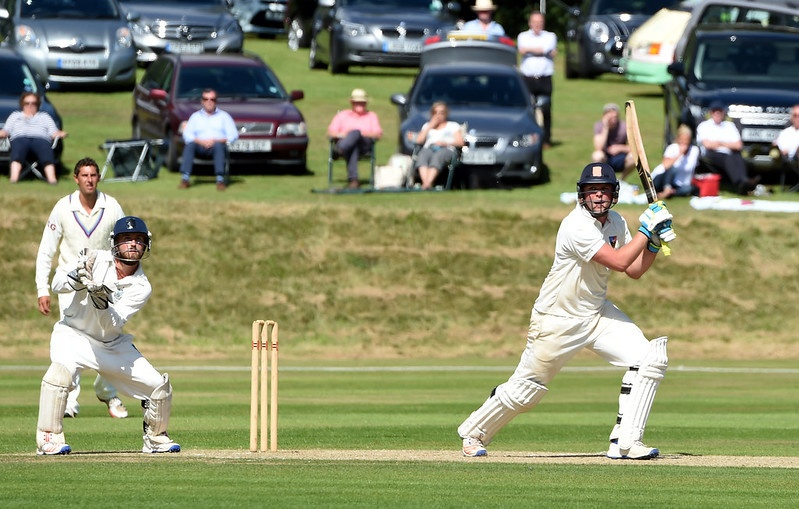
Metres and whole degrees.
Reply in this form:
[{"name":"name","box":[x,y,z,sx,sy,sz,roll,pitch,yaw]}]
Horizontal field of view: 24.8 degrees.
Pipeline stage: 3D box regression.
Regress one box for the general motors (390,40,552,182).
[{"name":"general motors","box":[1.397,-2.834,35.362,3.257,2.568,3.724,2,13,-7]}]

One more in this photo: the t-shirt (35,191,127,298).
[{"name":"t-shirt","box":[-4.728,-0.112,26.890,1.872,1.936,0.840,0,11,-14]}]

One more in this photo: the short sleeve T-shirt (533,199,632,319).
[{"name":"short sleeve T-shirt","box":[2.598,0.089,25.951,1.216,1.512,0.530,3,12,-1]}]

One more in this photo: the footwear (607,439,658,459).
[{"name":"footwear","box":[3.346,2.738,26.033,0.742,0.351,0.268,-1,-1,10]}]

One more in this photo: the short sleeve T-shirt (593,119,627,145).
[{"name":"short sleeve T-shirt","box":[4.086,-2.353,34.918,0.629,0.472,0.554,5,12,6]}]

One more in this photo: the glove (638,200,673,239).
[{"name":"glove","box":[3.679,-0.475,25.785,0.495,0.551,0.314,4,12,4]}]

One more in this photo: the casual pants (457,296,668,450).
[{"name":"casual pants","box":[2.246,1.568,26.577,3.073,2.043,1.872,0,7,-8]}]

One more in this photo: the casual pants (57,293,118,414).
[{"name":"casual pants","box":[-4.530,1.362,26.230,0.416,1.823,1.111,8,11,44]}]

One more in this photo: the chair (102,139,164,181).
[{"name":"chair","box":[-5.027,-1.822,34.555,1.223,0.813,0.812,0,8,6]}]

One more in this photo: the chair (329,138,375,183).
[{"name":"chair","box":[-0.861,-1.763,34.236,0.761,1.161,0.865,1,-4,0]}]

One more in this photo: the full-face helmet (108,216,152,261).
[{"name":"full-face helmet","box":[-3.857,-0.281,25.909,0.584,0.527,0.717,-1,3,-10]}]

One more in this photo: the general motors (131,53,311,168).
[{"name":"general motors","box":[-3.580,-2.865,35.517,2.066,1.424,3.176,-1,5,-19]}]

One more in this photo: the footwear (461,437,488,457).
[{"name":"footwear","box":[1.092,2.759,26.308,0.183,0.177,0.393,2,-2,-37]}]

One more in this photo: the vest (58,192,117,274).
[{"name":"vest","box":[-4.591,-0.321,26.600,0.963,0.947,0.527,10,14,-9]}]

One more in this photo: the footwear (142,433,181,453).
[{"name":"footwear","box":[-3.480,2.687,26.189,0.543,0.281,0.230,-1,1,15]}]
